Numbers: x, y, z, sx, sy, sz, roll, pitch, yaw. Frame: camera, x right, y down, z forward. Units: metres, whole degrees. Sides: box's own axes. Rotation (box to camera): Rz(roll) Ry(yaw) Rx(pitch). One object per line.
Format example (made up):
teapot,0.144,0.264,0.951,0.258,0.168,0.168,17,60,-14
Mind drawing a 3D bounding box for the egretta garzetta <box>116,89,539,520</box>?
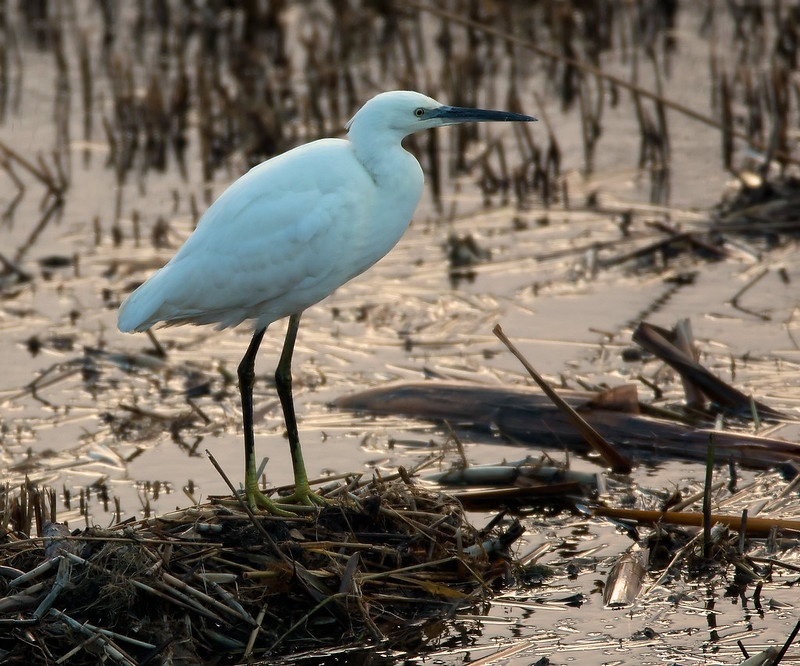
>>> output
egretta garzetta,-0.794,-0.291,5.167,2.697,1.802,0.827,-10,41,-35
